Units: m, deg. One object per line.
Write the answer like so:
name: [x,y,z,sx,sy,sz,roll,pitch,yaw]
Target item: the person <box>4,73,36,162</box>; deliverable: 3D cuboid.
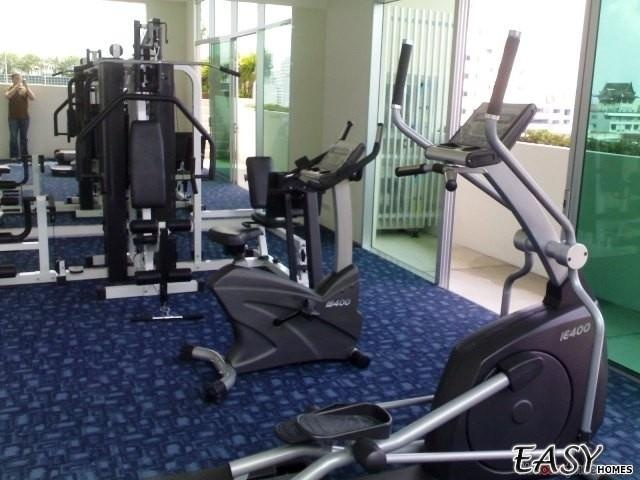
person: [-5.917,-2.344,9.525,0.541,1.594,1.535,-9,19,-31]
